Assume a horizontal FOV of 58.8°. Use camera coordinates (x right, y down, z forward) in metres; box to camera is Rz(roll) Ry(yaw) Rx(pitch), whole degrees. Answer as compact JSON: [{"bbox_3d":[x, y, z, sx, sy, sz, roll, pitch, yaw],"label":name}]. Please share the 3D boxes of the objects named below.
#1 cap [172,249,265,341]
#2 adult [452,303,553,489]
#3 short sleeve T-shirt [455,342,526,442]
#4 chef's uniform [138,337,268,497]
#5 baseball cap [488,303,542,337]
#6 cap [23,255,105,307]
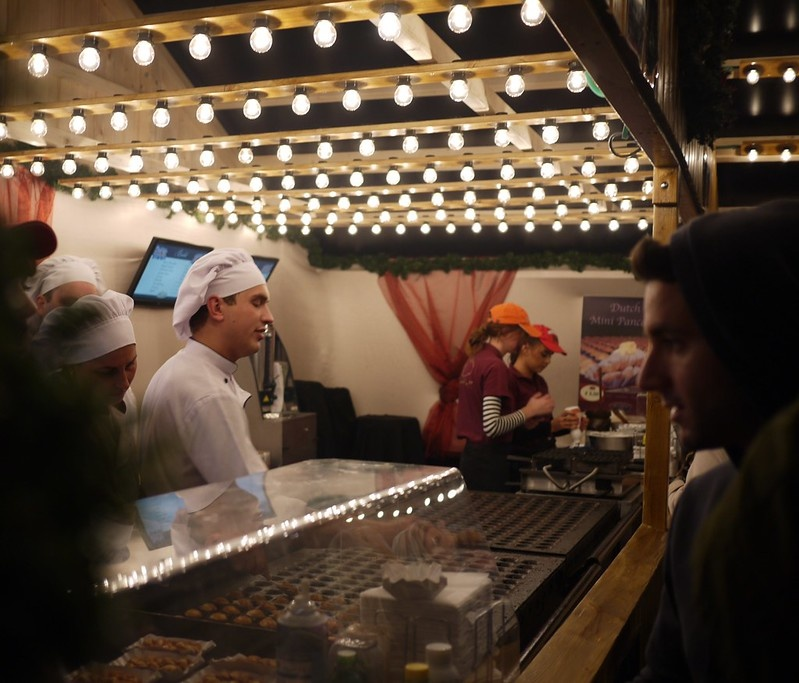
[{"bbox_3d":[-0.534,-0.171,2.097,0.235,0.246,0.245,-7,11,-5],"label":"cap"},{"bbox_3d":[0.600,0.669,4.118,0.491,1.736,0.648,0,6,9],"label":"adult"},{"bbox_3d":[0.468,0.298,4.064,0.246,0.516,0.489,1,-1,-23],"label":"short sleeve T-shirt"},{"bbox_3d":[-0.588,0.250,2.071,0.291,0.500,0.516,-2,6,-32],"label":"chef's uniform"},{"bbox_3d":[0.656,-0.097,4.035,0.247,0.162,0.164,10,3,-12],"label":"baseball cap"},{"bbox_3d":[-1.485,-0.318,3.120,0.288,0.157,0.325,-4,0,-35],"label":"cap"}]
